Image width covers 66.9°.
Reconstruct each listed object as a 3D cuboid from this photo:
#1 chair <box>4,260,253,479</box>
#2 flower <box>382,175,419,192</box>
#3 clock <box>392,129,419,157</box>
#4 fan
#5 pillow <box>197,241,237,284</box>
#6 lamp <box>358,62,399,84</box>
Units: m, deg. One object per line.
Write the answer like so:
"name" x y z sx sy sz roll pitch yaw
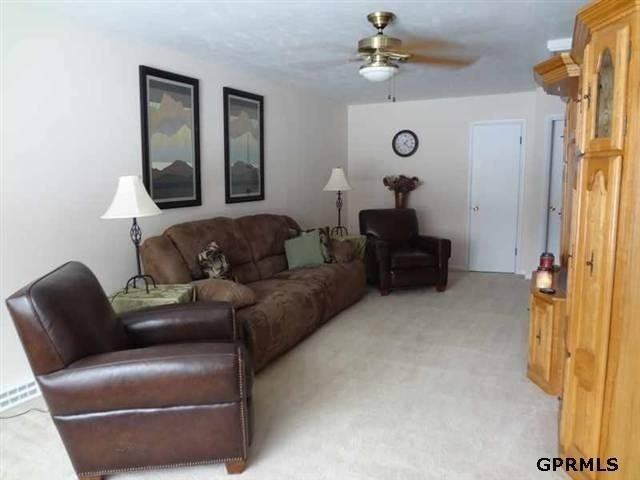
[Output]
"chair" -0.963 0.722 3.025 1.293 1.246 1.202 -3 10 -15
"flower" 1.160 -0.789 6.883 0.348 0.164 0.299 -1 1 -8
"clock" 1.249 -1.399 6.981 0.366 0.367 0.040 -17 6 42
"fan" 0.534 -1.649 4.091 1.164 0.333 0.990 -11 12 -33
"pillow" -0.891 0.203 4.129 0.114 0.315 0.284 -33 -8 41
"lamp" 0.495 -1.387 3.993 0.291 0.122 0.253 2 13 13
